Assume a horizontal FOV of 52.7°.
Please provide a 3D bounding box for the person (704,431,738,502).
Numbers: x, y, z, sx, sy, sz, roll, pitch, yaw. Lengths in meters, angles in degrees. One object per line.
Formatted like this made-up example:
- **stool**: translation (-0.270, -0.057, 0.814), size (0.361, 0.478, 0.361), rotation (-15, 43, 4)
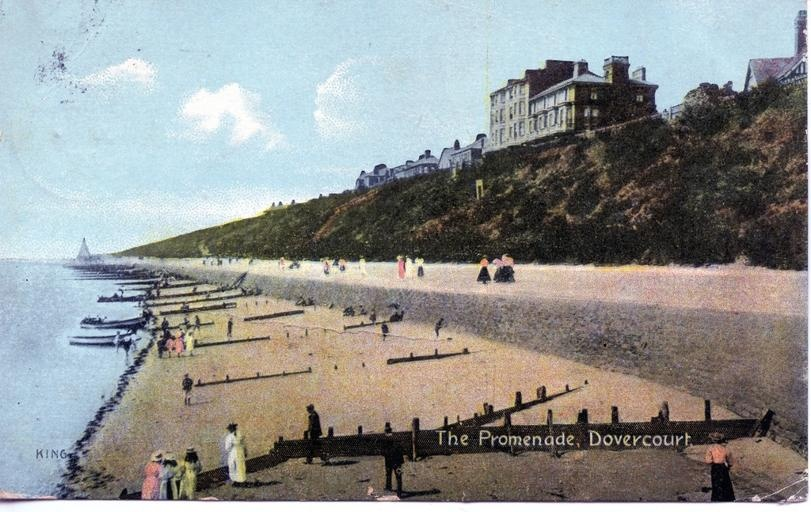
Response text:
- **person**: translation (8.931, 6.010, 23.198), size (0.803, 1.796, 0.694), rotation (-2, 9, 10)

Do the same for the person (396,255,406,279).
- **person**: translation (-0.108, 0.380, 27.455), size (0.276, 0.723, 0.610), rotation (-3, 9, -1)

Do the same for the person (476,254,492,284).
- **person**: translation (2.596, 0.463, 26.505), size (0.409, 0.804, 0.610), rotation (0, 10, 19)

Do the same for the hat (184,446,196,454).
- **hat**: translation (-5.991, 5.444, 22.975), size (0.293, 0.097, 0.298), rotation (5, 2, 13)

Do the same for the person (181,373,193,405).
- **person**: translation (-6.502, 4.023, 24.456), size (0.332, 0.750, 0.529), rotation (-6, 10, -16)

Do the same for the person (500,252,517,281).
- **person**: translation (3.328, 0.393, 26.398), size (0.433, 0.824, 0.606), rotation (-2, 9, 7)

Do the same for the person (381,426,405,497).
- **person**: translation (-0.326, 5.868, 23.464), size (0.597, 1.803, 0.866), rotation (-3, 9, 2)

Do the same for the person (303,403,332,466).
- **person**: translation (-2.597, 5.143, 23.680), size (0.617, 1.583, 0.708), rotation (-4, 9, -7)
